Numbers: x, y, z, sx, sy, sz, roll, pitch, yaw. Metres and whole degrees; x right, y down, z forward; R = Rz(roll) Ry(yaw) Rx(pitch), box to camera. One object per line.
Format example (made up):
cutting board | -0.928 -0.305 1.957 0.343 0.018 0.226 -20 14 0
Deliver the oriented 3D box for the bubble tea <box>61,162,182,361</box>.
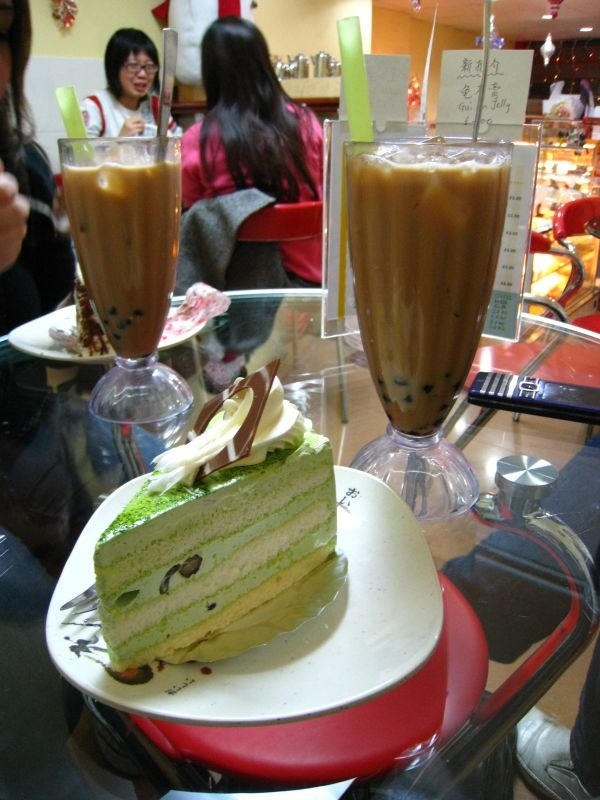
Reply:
bubble tea | -0.206 -0.173 0.780 0.157 0.242 0.157 7 12 21

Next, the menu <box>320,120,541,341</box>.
menu | 0.136 -0.264 0.864 0.193 0.204 0.018 -2 47 0
